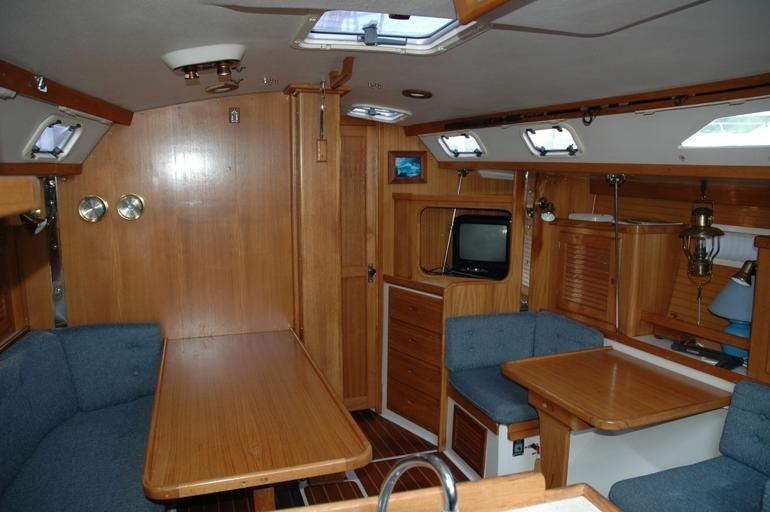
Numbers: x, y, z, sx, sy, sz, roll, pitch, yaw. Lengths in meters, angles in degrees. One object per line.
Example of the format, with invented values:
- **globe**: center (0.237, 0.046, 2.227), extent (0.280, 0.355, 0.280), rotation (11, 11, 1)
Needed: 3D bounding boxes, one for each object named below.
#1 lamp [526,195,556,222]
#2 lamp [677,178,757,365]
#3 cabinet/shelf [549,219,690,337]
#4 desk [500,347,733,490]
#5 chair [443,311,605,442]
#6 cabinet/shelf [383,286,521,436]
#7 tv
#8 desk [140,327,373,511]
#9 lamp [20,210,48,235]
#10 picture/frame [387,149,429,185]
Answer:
- **lamp**: center (1.256, -0.377, 4.338), extent (0.126, 0.182, 0.312), rotation (6, 6, -31)
- **lamp**: center (2.131, 0.083, 3.464), extent (0.407, 1.132, 0.596), rotation (5, 8, 31)
- **cabinet/shelf**: center (1.761, 0.136, 4.182), extent (0.536, 0.781, 0.847), rotation (-5, 10, -25)
- **desk**: center (1.378, 1.208, 3.471), extent (0.989, 0.867, 0.965), rotation (-2, 11, -24)
- **chair**: center (1.065, 0.900, 4.183), extent (0.906, 0.613, 0.860), rotation (0, 9, -24)
- **cabinet/shelf**: center (0.628, 0.946, 5.008), extent (1.193, 1.301, 1.197), rotation (0, 4, -6)
- **tv**: center (0.893, -0.071, 4.876), extent (0.558, 0.507, 0.306), rotation (12, 9, 35)
- **desk**: center (-0.680, 0.841, 2.772), extent (0.990, 0.435, 1.739), rotation (-2, 10, -23)
- **lamp**: center (-2.031, -0.196, 3.103), extent (0.109, 0.070, 0.174), rotation (-24, 37, -39)
- **picture/frame**: center (0.201, -0.846, 5.044), extent (0.369, 0.248, 0.023), rotation (-3, 7, -22)
